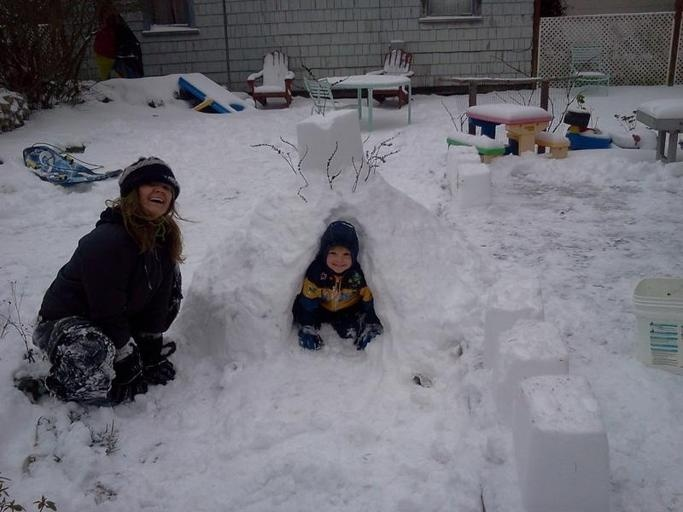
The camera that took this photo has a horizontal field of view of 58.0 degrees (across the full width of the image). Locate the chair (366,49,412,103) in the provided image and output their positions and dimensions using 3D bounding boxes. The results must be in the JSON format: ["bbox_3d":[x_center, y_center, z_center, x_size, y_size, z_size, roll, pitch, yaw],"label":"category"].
[{"bbox_3d":[0.886,-3.188,11.110,0.670,0.929,0.877,10,27,25],"label":"chair"}]

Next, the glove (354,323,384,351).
[{"bbox_3d":[0.206,0.595,4.691,0.143,0.229,0.066,32,-10,13],"label":"glove"}]

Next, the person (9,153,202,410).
[{"bbox_3d":[-1.740,0.230,4.533,1.059,1.937,1.468,6,17,3],"label":"person"}]

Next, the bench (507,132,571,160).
[{"bbox_3d":[2.378,-1.315,7.278,0.373,0.286,0.573,-14,32,-22],"label":"bench"}]

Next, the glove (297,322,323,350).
[{"bbox_3d":[-0.243,0.610,4.687,0.152,0.226,0.125,2,42,16],"label":"glove"}]

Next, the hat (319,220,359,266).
[{"bbox_3d":[-0.019,-0.107,4.664,0.226,0.332,0.318,3,60,1],"label":"hat"}]

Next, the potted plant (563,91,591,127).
[{"bbox_3d":[2.883,-1.835,7.595,0.213,0.243,0.379,4,-14,24],"label":"potted plant"}]

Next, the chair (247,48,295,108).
[{"bbox_3d":[-1.234,-3.164,11.228,0.752,1.049,0.997,1,19,3],"label":"chair"}]

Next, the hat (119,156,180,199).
[{"bbox_3d":[-1.283,-0.498,4.024,0.281,0.193,0.285,-15,-10,39],"label":"hat"}]

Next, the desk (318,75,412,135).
[{"bbox_3d":[0.522,-2.606,10.238,1.236,0.748,2.807,1,18,4],"label":"desk"}]

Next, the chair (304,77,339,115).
[{"bbox_3d":[-0.283,-2.465,9.297,0.438,0.727,0.534,-6,47,3],"label":"chair"}]
